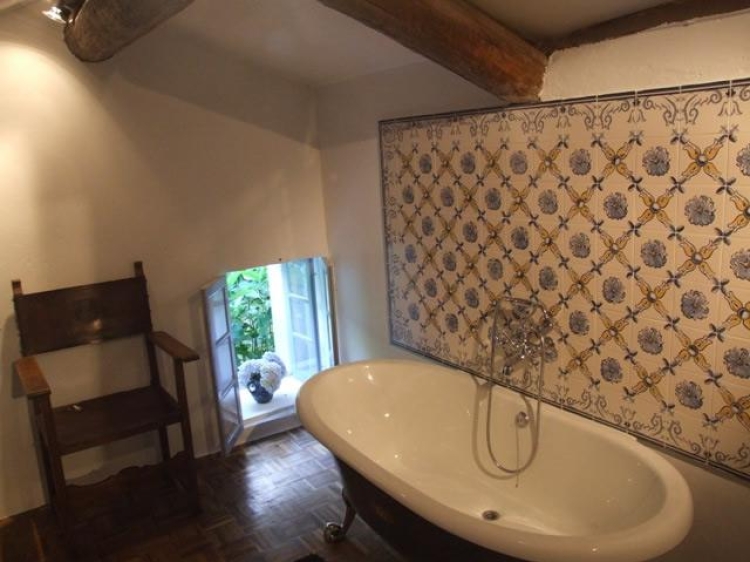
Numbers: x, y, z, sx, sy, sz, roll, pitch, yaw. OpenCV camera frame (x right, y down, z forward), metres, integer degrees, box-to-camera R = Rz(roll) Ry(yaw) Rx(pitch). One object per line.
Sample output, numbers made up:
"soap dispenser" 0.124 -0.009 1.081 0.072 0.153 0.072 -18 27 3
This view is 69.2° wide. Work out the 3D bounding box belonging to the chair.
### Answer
"chair" -1.572 0.707 3.226 0.846 1.462 0.683 -14 18 -41
